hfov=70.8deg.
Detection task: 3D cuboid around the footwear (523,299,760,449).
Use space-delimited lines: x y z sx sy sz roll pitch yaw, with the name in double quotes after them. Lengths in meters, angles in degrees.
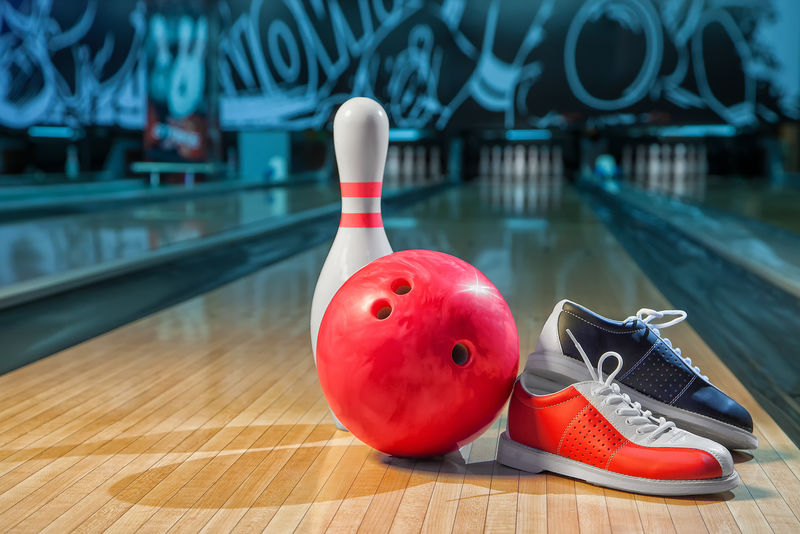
0.530 0.196 1.185 0.470 0.226 0.162 19 -7 12 "footwear"
